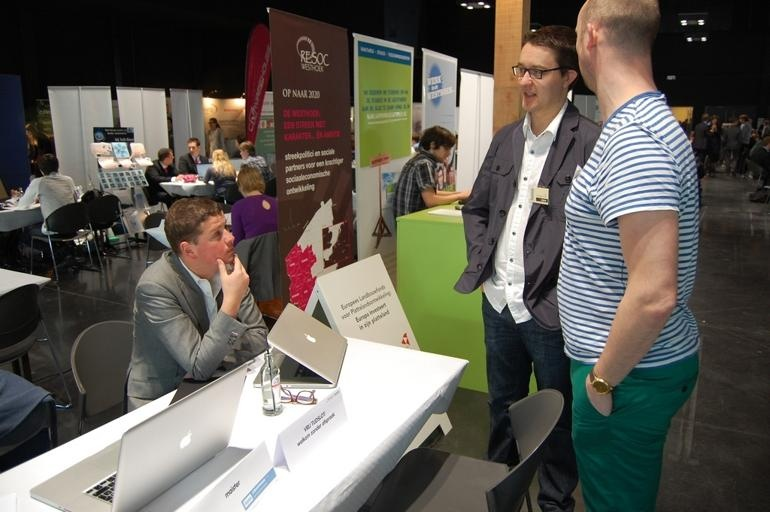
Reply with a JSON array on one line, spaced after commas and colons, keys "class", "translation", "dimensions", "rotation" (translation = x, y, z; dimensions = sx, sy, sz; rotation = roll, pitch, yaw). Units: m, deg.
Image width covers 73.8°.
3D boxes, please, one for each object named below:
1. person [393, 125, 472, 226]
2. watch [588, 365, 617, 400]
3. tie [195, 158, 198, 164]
[{"class": "person", "translation": [0.437, -0.532, 4.497], "dimensions": [0.652, 1.178, 0.625], "rotation": [3, 16, 2]}, {"class": "watch", "translation": [0.759, 0.442, 1.820], "dimensions": [0.064, 0.100, 0.090], "rotation": [-16, 34, -29]}, {"class": "tie", "translation": [-3.581, -1.780, 9.640], "dimensions": [0.080, 0.019, 0.076], "rotation": [28, 38, -15]}]
